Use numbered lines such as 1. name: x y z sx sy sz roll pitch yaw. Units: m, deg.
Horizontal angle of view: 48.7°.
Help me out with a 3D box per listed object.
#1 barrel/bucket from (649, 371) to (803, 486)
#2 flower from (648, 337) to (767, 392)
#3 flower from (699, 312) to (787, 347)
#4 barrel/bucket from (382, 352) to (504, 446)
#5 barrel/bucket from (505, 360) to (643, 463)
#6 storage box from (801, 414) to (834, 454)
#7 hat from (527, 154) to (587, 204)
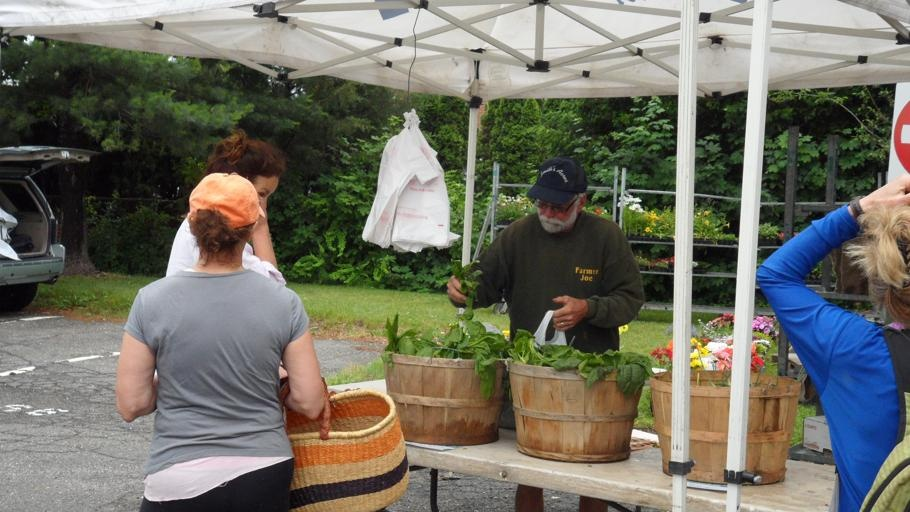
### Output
1. barrel/bucket: 2.233 1.381 8.379 1.111 0.601 1.006 2 -4 -3
2. flower: 2.394 0.979 9.613 0.874 0.314 0.799 1 -4 17
3. flower: 3.396 0.877 11.785 0.933 0.290 0.930 -10 8 -42
4. barrel/bucket: -0.129 1.218 8.759 0.967 0.515 0.844 1 -4 -3
5. barrel/bucket: 1.131 1.378 9.042 1.347 0.762 1.287 0 -3 0
6. storage box: 3.793 1.745 10.395 0.231 0.383 0.429 12 27 33
7. hat: 0.977 -0.720 9.463 0.391 0.267 0.564 16 21 40
